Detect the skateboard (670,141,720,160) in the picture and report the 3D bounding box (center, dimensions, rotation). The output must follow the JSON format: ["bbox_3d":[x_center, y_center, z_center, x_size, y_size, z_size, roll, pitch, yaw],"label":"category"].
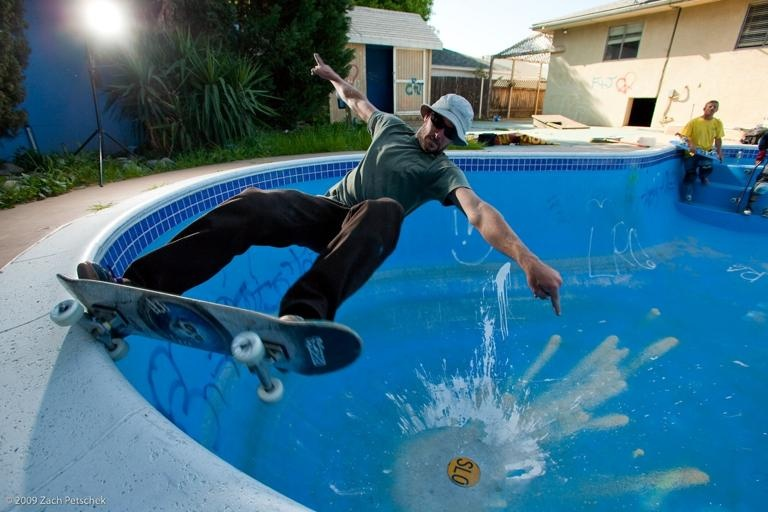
[{"bbox_3d":[5.190,-1.746,7.970,0.594,0.147,0.087,37,9,30],"label":"skateboard"}]

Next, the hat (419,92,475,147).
[{"bbox_3d":[0.689,-1.349,4.510,0.530,0.270,0.468,10,11,-23],"label":"hat"}]

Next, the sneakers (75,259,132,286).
[{"bbox_3d":[-2.049,0.125,3.454,0.210,0.087,0.074,24,22,-7],"label":"sneakers"}]
